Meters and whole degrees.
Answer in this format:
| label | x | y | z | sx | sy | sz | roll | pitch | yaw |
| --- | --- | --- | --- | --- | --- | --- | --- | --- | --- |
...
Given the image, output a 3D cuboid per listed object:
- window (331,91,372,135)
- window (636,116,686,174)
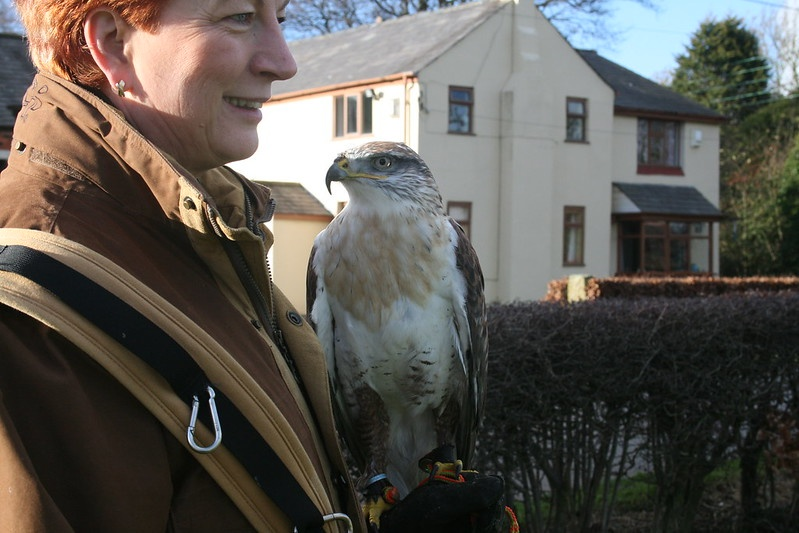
| label | x | y | z | sx | sy | sz | roll | pitch | yaw |
| --- | --- | --- | --- | --- | --- | --- | --- | --- | --- |
| window | -1.114 | -3.797 | 34.447 | 0.097 | 0.837 | 0.953 | 1 | 0 | -42 |
| window | 6.890 | -3.284 | 37.231 | 1.161 | 1.382 | 0.132 | -2 | 3 | -32 |
